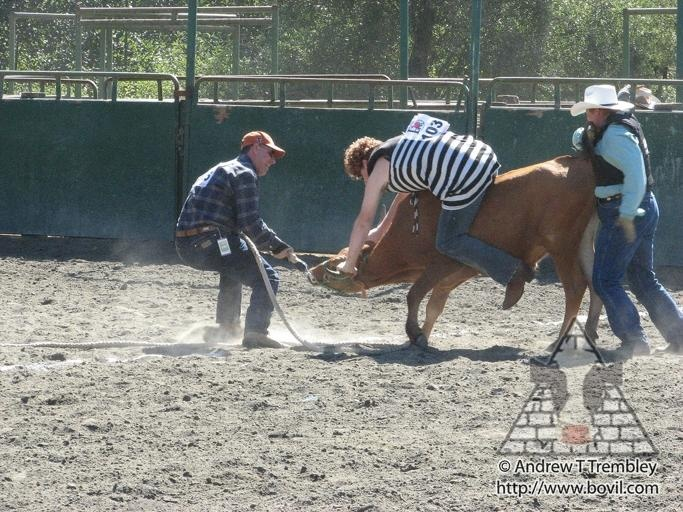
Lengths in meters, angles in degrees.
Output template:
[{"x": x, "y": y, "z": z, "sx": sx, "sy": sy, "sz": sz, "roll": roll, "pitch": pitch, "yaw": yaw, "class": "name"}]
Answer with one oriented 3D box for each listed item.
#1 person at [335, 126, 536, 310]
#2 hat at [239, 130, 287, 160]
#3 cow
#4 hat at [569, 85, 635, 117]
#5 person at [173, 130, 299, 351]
[{"x": 0.737, "y": -0.338, "z": 11.339, "sx": 1.898, "sy": 1.568, "sz": 1.029, "roll": 8, "pitch": 11, "yaw": 36, "class": "person"}, {"x": -0.736, "y": -1.037, "z": 11.608, "sx": 0.463, "sy": 0.227, "sz": 0.286, "roll": 8, "pitch": 2, "yaw": -11, "class": "hat"}, {"x": 1.103, "y": -0.071, "z": 11.454, "sx": 2.543, "sy": 1.678, "sz": 0.907, "roll": -1, "pitch": -10, "yaw": 17, "class": "cow"}, {"x": 2.165, "y": -1.327, "z": 10.862, "sx": 0.330, "sy": 0.154, "sz": 0.365, "roll": -8, "pitch": 7, "yaw": -36, "class": "hat"}, {"x": -0.923, "y": -0.175, "z": 11.506, "sx": 1.055, "sy": 1.871, "sz": 0.527, "roll": 8, "pitch": 10, "yaw": 25, "class": "person"}]
